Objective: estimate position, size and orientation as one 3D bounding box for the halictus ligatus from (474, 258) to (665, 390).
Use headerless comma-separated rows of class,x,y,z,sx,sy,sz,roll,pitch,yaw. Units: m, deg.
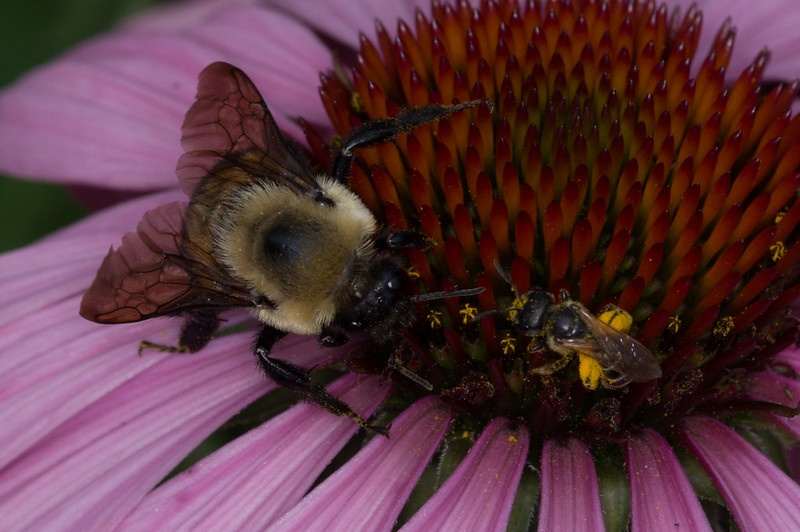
halictus ligatus,0.379,0.151,1.790,0.322,0.100,0.232,31,77,10
